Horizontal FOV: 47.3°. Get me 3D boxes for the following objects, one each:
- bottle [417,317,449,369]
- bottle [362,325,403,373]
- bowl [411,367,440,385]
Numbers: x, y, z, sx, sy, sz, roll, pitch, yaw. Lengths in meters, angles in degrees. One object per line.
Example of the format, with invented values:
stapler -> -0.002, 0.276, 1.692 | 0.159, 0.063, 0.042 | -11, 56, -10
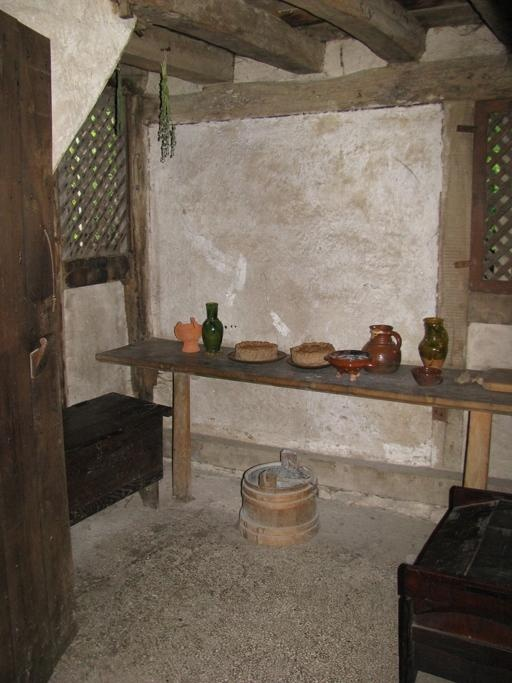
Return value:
bottle -> 0.946, 0.012, 3.129 | 0.140, 0.267, 0.260 | 3, 11, 21
bottle -> 0.693, 0.046, 3.219 | 0.202, 0.264, 0.187 | 0, 10, 0
bowl -> 0.882, 0.176, 3.017 | 0.150, 0.075, 0.155 | 0, 10, 0
